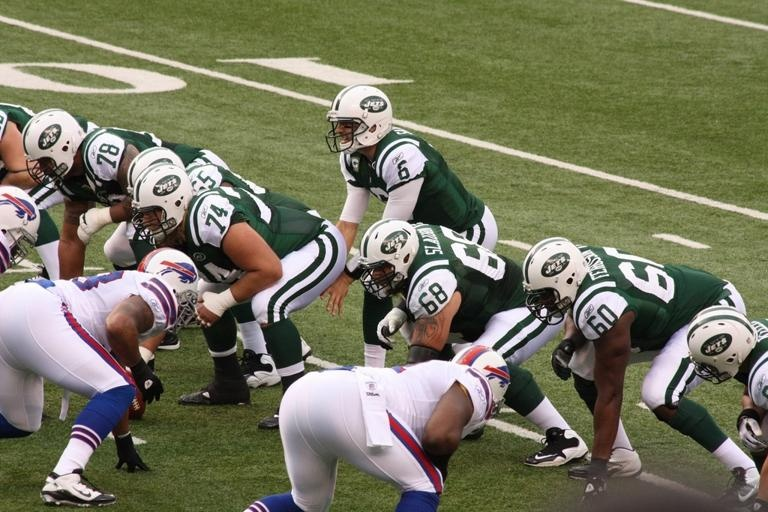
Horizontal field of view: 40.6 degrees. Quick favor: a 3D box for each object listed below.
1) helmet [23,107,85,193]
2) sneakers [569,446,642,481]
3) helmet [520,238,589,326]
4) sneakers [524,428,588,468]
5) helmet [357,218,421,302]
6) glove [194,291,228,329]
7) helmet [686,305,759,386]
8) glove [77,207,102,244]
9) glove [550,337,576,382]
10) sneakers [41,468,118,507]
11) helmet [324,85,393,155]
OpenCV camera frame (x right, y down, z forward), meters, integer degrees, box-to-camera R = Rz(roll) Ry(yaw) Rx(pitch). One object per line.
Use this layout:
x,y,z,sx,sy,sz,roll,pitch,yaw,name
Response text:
-2.545,-0.915,8.300,0.555,0.455,0.388,-21,21,-18,helmet
1.486,1.475,7.514,0.629,0.244,0.196,-1,8,-12,sneakers
1.128,0.151,7.200,0.540,0.512,0.378,-20,4,-18,helmet
1.191,1.388,7.658,0.527,0.257,0.206,-6,9,-11,sneakers
0.019,0.000,7.383,0.508,0.458,0.365,-18,12,-7,helmet
-1.291,0.403,7.750,0.179,0.235,0.144,42,33,24,glove
2.140,0.620,7.025,0.420,0.527,0.330,23,27,17,helmet
-2.369,-0.242,8.383,0.127,0.262,0.200,13,46,-12,glove
1.178,0.736,7.376,0.123,0.254,0.205,12,6,-10,glove
-1.929,1.531,6.818,0.526,0.216,0.181,3,0,-10,sneakers
-0.235,-1.164,8.733,0.581,0.495,0.428,-11,15,-20,helmet
